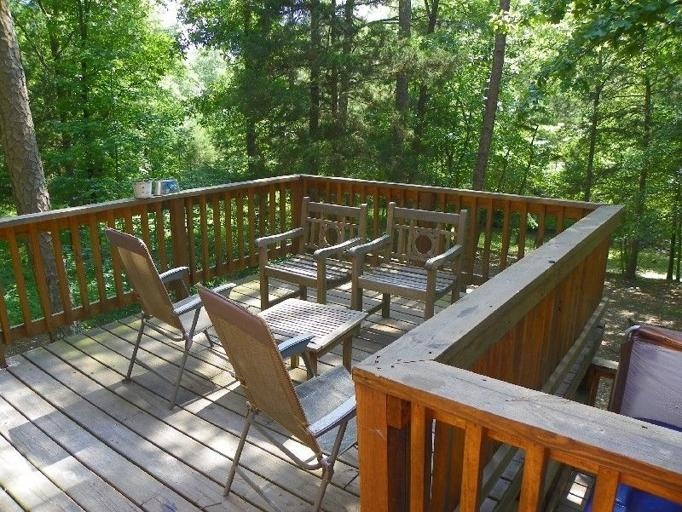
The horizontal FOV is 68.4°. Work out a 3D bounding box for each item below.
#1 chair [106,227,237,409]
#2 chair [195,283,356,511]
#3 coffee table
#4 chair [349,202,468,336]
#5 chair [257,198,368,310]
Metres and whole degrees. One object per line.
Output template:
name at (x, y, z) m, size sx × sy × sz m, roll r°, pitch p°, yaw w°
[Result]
chair at (-1.290, 0.489, 3.832) m, size 0.762 × 1.357 × 0.952 m, roll 23°, pitch 31°, yaw 31°
chair at (-0.377, 0.847, 2.842) m, size 0.641 × 1.128 × 0.776 m, roll 20°, pitch 30°, yaw 41°
coffee table at (-0.205, 0.458, 3.407) m, size 0.524 × 0.543 × 0.534 m, roll 14°, pitch 23°, yaw 37°
chair at (0.540, 0.118, 4.170) m, size 0.929 × 1.308 × 0.861 m, roll 9°, pitch 17°, yaw 32°
chair at (-0.267, -0.005, 4.697) m, size 0.856 × 1.209 × 0.764 m, roll 10°, pitch 18°, yaw 32°
